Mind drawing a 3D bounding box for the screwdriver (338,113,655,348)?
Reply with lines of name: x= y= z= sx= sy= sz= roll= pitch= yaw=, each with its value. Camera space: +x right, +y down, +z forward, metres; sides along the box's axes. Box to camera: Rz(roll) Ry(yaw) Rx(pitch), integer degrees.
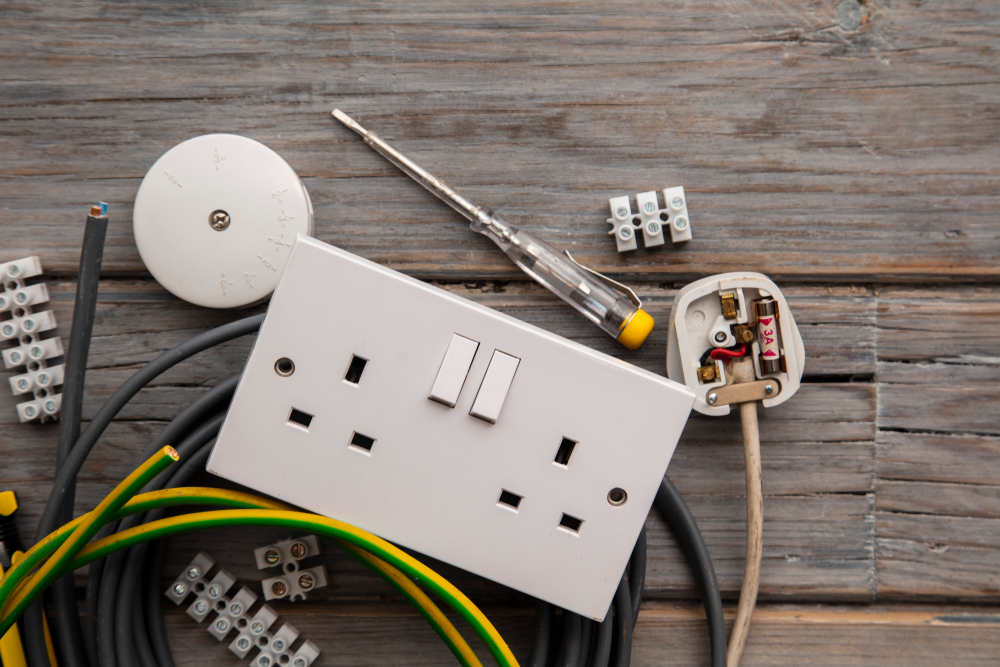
screwdriver: x=-0.025 y=-0.216 z=2.570 sx=0.900 sy=0.108 sz=0.132 roll=26 pitch=68 yaw=4
